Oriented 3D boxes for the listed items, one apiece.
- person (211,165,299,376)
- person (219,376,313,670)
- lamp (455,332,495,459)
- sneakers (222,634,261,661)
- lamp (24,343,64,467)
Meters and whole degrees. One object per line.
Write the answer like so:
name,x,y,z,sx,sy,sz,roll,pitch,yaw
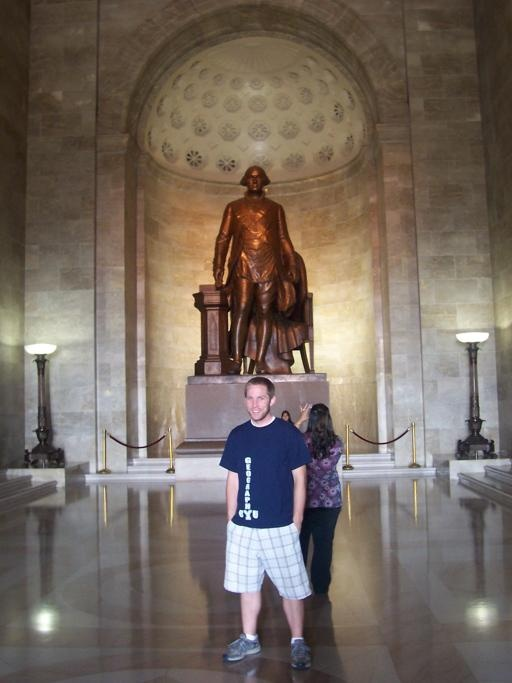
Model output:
person,0.047,-1.045,9.793,1.291,3.029,0.505,-2,-4,3
person,0.040,0.755,2.937,0.377,1.197,0.200,-2,-4,3
lamp,2.963,0.712,9.385,0.514,1.713,1.330,-3,-4,19
sneakers,-0.062,1.307,2.912,0.063,0.081,0.168,-10,-15,34
lamp,-2.983,0.883,9.640,0.525,1.709,1.293,0,-4,-16
